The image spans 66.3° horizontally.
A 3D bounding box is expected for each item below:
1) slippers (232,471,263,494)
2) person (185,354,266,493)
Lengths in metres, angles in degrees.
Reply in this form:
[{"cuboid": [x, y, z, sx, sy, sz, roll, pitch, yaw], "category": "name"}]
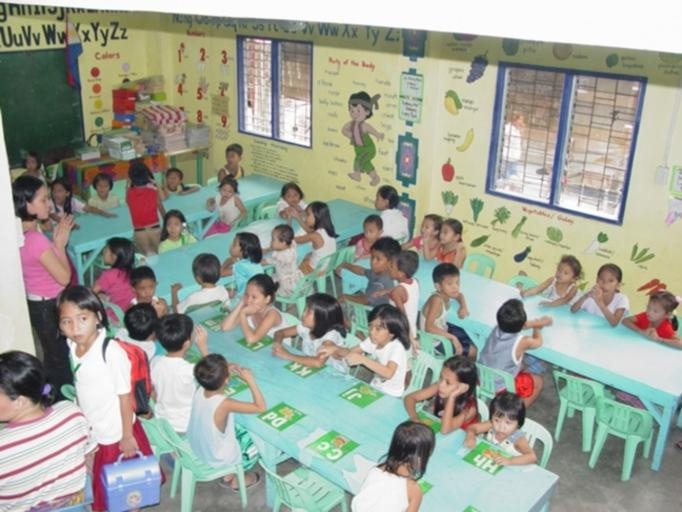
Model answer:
[{"cuboid": [-0.725, 1.776, 4.129, 0.110, 0.063, 0.211, 23, 32, 40], "category": "slippers"}, {"cuboid": [-0.826, 1.181, 3.723, 0.492, 0.972, 0.476, -2, 13, -23], "category": "person"}]
